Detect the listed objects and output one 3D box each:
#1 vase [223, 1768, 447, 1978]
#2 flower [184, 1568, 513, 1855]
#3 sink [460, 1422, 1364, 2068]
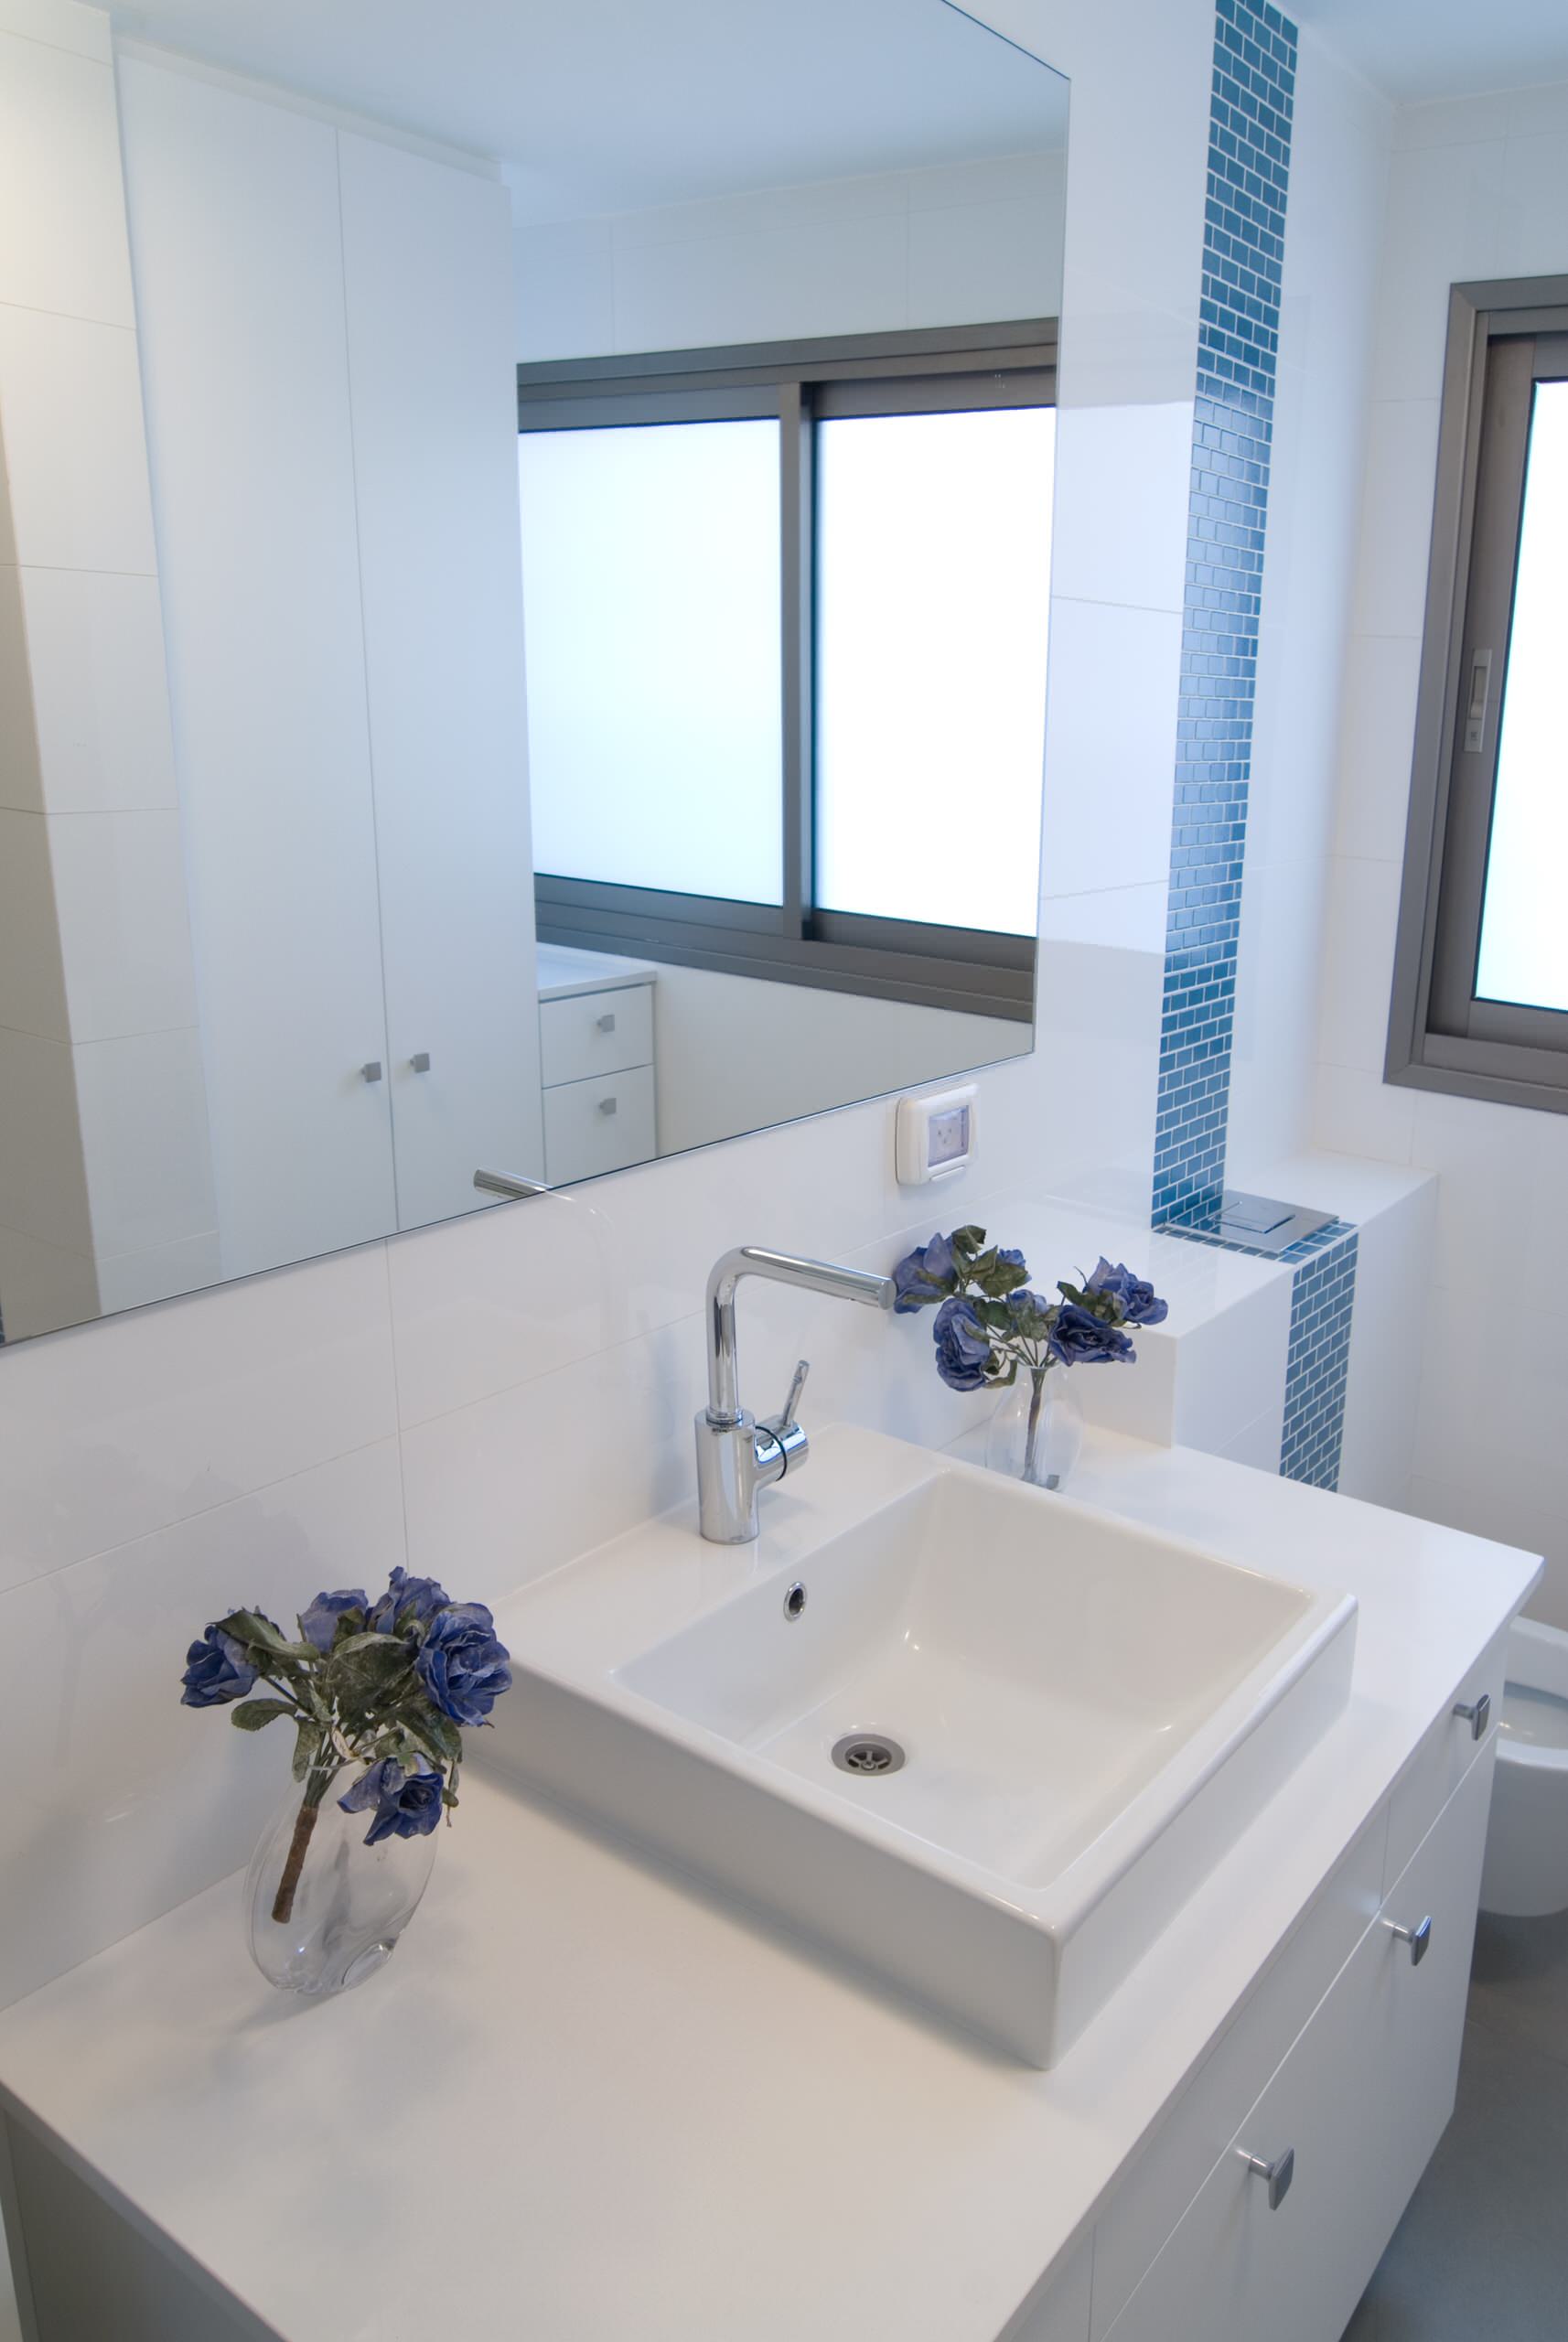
[{"bbox_3d":[-0.251,0.401,0.977,0.083,0.111,0.107,27,16,0],"label":"vase"},{"bbox_3d":[-0.228,0.289,0.934,0.155,0.112,0.104,4,13,19],"label":"flower"},{"bbox_3d":[0.104,0.396,1.196,0.324,0.099,0.353,19,32,33],"label":"sink"}]
